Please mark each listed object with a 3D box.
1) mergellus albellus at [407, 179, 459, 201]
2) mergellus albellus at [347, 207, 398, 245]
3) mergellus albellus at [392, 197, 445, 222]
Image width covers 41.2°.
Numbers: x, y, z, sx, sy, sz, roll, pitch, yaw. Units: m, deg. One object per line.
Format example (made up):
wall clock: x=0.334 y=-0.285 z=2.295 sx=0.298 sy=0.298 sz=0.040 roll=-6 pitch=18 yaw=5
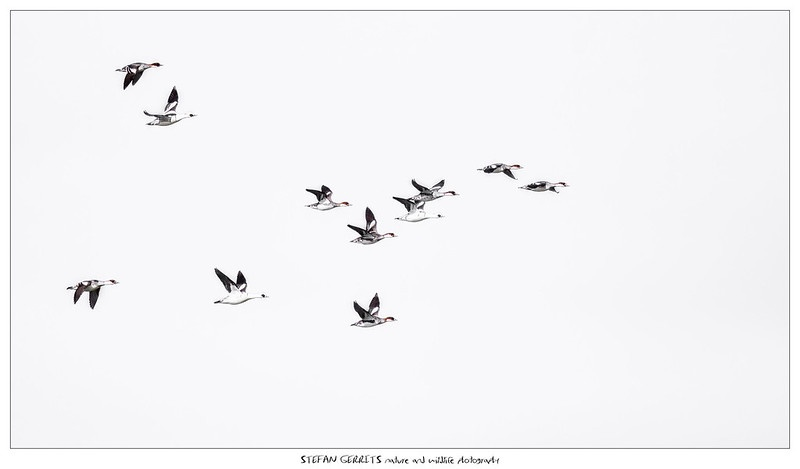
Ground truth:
mergellus albellus: x=0.427 y=-0.496 z=13.348 sx=0.527 sy=0.884 sz=0.278 roll=-4 pitch=-76 yaw=0
mergellus albellus: x=-0.363 y=-0.007 z=13.473 sx=0.538 sy=0.220 sz=0.513 roll=2 pitch=-80 yaw=-18
mergellus albellus: x=0.231 y=-0.283 z=13.615 sx=0.481 sy=0.469 sz=0.172 roll=5 pitch=-96 yaw=8
